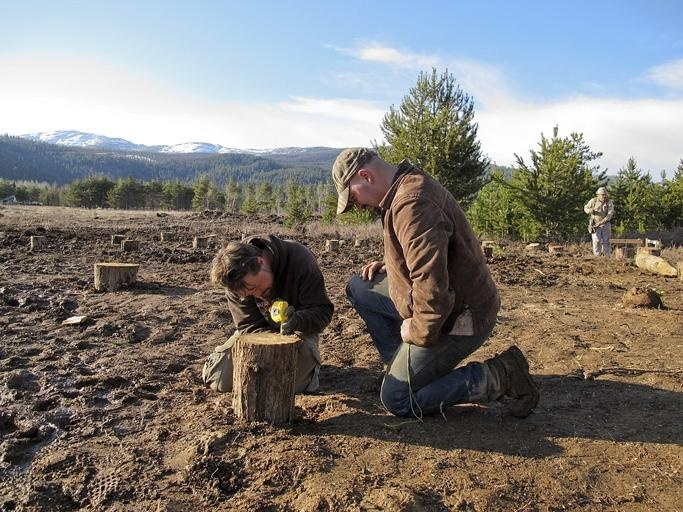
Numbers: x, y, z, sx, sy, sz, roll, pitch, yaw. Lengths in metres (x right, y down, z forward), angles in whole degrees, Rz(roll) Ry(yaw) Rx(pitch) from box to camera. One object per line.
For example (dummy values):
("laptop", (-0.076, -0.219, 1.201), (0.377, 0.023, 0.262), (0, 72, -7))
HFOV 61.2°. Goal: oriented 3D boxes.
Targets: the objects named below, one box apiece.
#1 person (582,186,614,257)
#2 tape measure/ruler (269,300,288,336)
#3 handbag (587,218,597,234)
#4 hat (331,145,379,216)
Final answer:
("person", (6.510, -0.897, 14.600), (0.596, 1.748, 1.125), (2, 3, 24))
("tape measure/ruler", (-0.576, 0.569, 5.413), (0.149, 0.300, 0.150), (3, 3, 35))
("handbag", (6.289, -0.770, 14.526), (0.188, 0.320, 0.326), (3, 9, 23))
("hat", (0.118, -0.659, 5.105), (0.389, 0.569, 0.243), (1, 3, -3))
